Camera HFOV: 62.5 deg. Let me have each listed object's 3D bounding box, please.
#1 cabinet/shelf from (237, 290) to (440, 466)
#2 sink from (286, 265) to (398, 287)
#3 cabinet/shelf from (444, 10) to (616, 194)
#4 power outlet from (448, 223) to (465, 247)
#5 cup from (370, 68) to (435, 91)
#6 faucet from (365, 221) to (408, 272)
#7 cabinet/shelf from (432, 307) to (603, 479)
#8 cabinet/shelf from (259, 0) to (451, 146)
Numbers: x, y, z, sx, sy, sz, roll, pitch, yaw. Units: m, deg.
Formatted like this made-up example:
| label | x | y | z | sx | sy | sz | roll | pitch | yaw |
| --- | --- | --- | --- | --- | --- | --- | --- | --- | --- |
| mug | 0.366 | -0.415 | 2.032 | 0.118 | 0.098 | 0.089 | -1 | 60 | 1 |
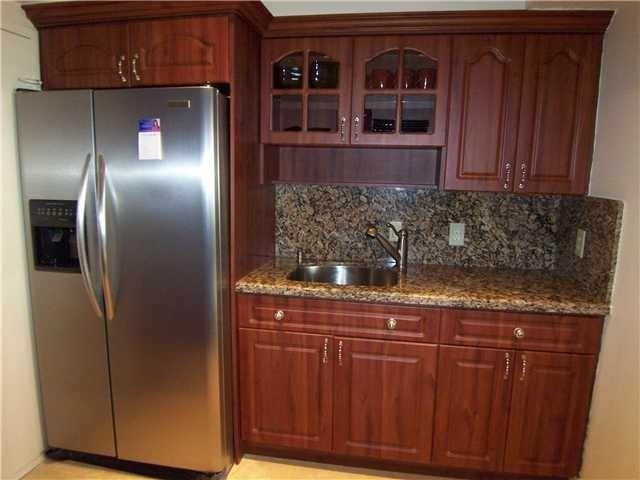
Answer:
| label | x | y | z | sx | sy | sz | roll | pitch | yaw |
| --- | --- | --- | --- | --- | --- | --- | --- | --- | --- |
| cabinet/shelf | 0.134 | 0.734 | 2.962 | 0.974 | 0.821 | 0.401 | 1 | 5 | 12 |
| sink | 0.141 | 0.235 | 3.339 | 0.672 | 0.124 | 0.251 | 0 | 12 | -2 |
| cabinet/shelf | 1.201 | -0.801 | 2.938 | 0.943 | 1.027 | 0.485 | 3 | 8 | 13 |
| power outlet | 0.872 | -0.031 | 3.374 | 0.104 | 0.144 | 0.033 | 3 | 8 | 10 |
| cup | 0.481 | -0.926 | 3.055 | 0.381 | 0.121 | 0.055 | 2 | 12 | 6 |
| faucet | 0.422 | 0.043 | 3.353 | 0.280 | 0.264 | 0.240 | 2 | 12 | 6 |
| cabinet/shelf | 1.090 | 0.788 | 2.845 | 0.916 | 1.092 | 0.559 | 2 | 1 | 12 |
| cabinet/shelf | 0.207 | -0.858 | 3.226 | 1.104 | 0.655 | 0.357 | 2 | 3 | 7 |
